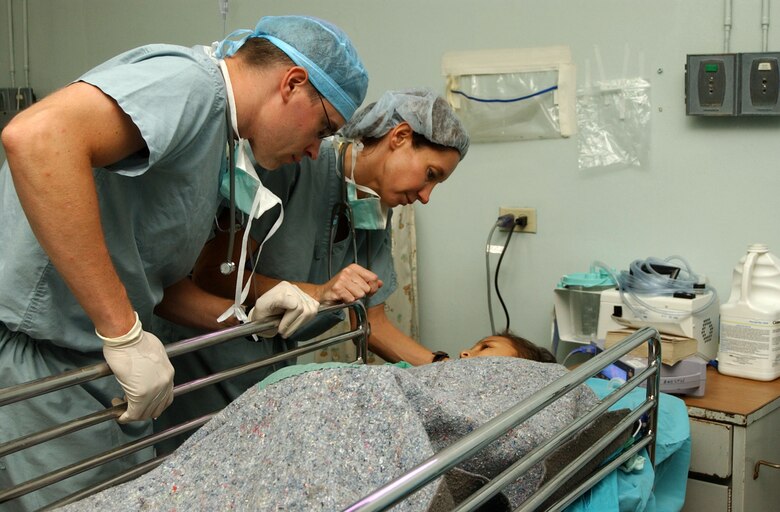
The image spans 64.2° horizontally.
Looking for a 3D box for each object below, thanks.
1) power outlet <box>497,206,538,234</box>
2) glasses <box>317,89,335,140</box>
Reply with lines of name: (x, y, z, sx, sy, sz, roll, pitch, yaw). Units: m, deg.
power outlet: (0.618, -0.171, 3.013, 0.194, 0.125, 0.030, 6, 17, 25)
glasses: (-0.184, -0.411, 1.804, 0.027, 0.091, 0.071, -18, -10, 21)
